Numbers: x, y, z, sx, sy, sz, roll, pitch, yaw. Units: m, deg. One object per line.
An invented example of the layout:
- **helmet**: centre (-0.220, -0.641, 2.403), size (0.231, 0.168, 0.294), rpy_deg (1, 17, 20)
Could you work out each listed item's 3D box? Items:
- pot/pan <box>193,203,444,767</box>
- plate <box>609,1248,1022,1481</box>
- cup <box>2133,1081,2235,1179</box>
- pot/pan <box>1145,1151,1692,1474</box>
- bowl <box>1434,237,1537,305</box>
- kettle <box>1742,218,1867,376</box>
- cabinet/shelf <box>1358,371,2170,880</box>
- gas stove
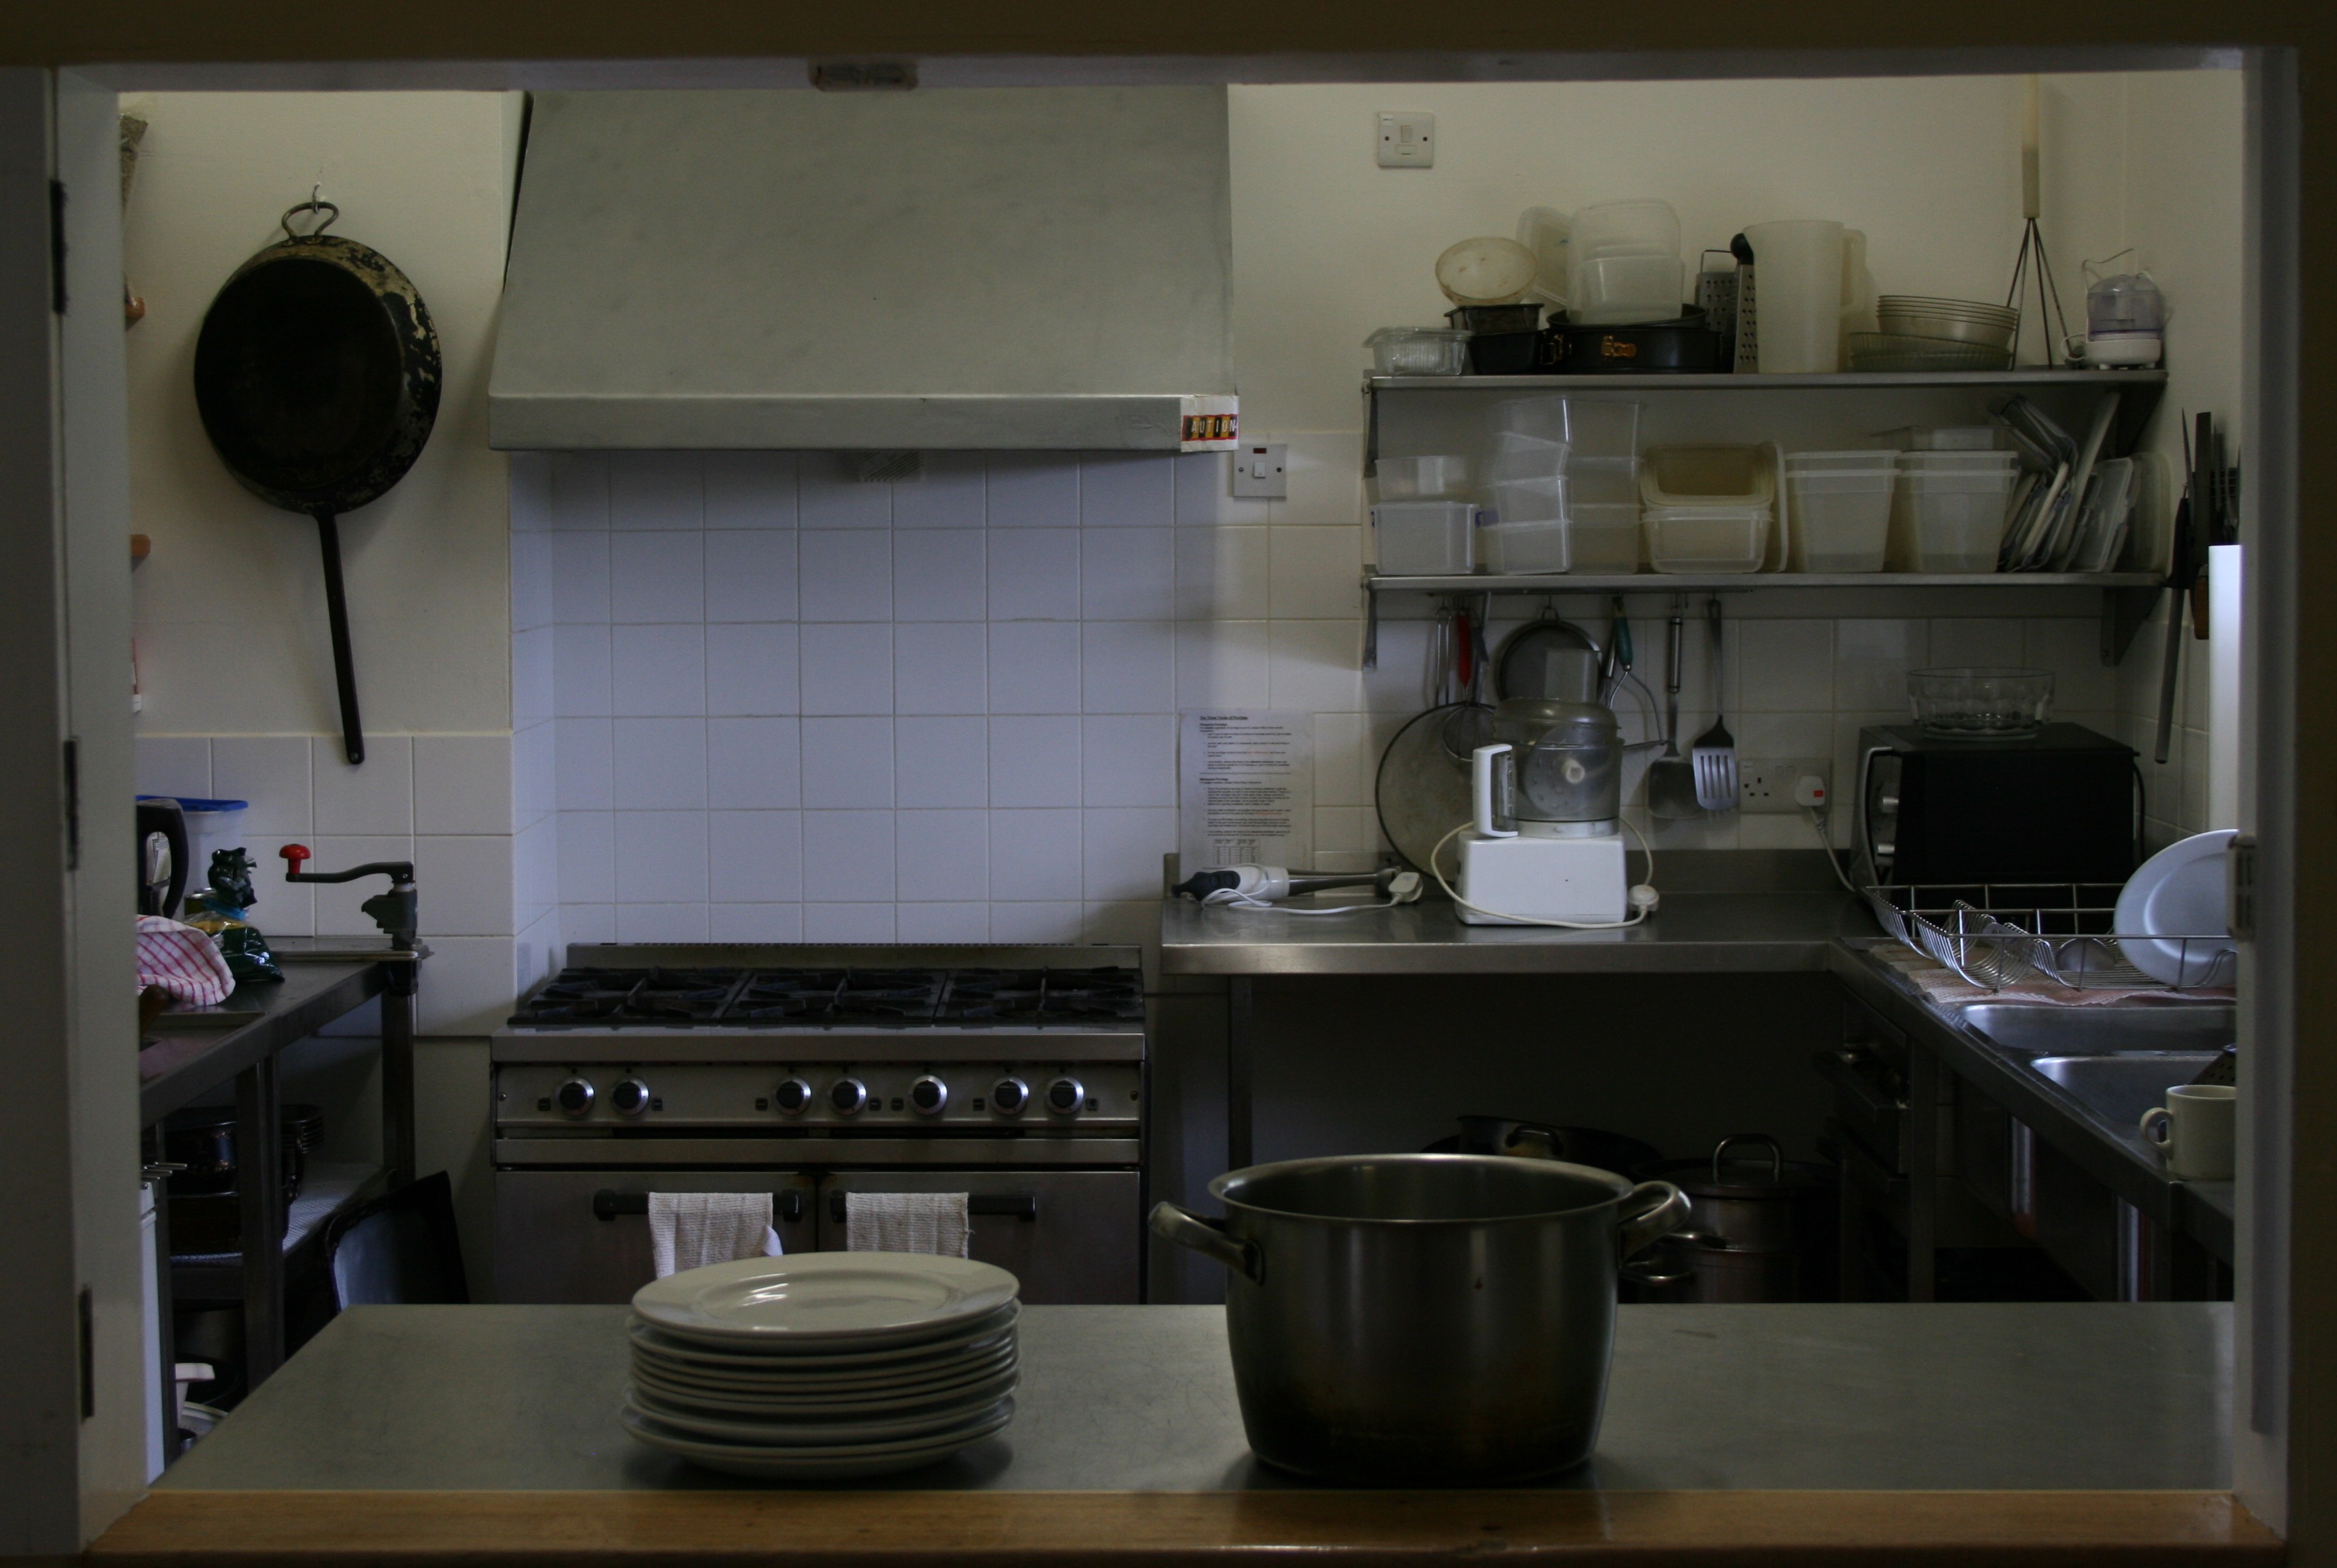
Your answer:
- **pot/pan**: centre (-1.585, -0.649, 3.985), size (0.385, 0.694, 0.111), rpy_deg (0, 2, 18)
- **plate**: centre (-0.304, 0.494, 1.862), size (0.216, 0.079, 0.211), rpy_deg (0, 1, 23)
- **cup**: centre (1.082, 0.357, 2.313), size (0.082, 0.114, 0.221), rpy_deg (4, 9, 28)
- **pot/pan**: centre (0.219, 0.458, 1.882), size (0.426, 0.240, 0.217), rpy_deg (1, 9, 13)
- **bowl**: centre (0.608, -0.961, 4.081), size (0.212, 0.131, 0.133), rpy_deg (-3, 9, -14)
- **kettle**: centre (1.168, -0.911, 4.085), size (0.178, 0.275, 0.079), rpy_deg (-1, 8, 1)
- **cabinet/shelf**: centre (1.132, -0.317, 4.240), size (1.537, 0.958, 0.428), rpy_deg (0, 8, 6)
- **gas stove**: centre (-0.641, 0.480, 4.071), size (1.186, 0.192, 0.620), rpy_deg (-1, 8, 0)
